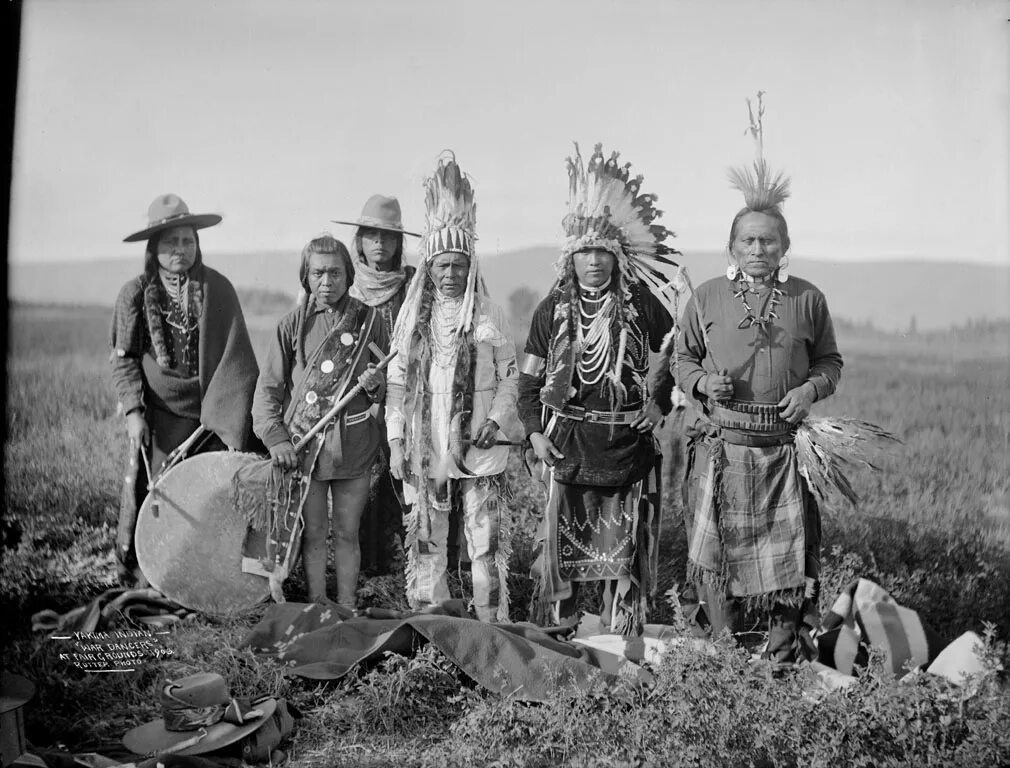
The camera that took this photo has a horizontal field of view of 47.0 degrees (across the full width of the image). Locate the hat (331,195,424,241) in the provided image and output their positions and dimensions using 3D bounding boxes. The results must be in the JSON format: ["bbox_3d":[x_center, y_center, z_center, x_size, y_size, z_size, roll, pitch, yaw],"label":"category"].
[{"bbox_3d":[-0.715,-1.016,7.018,0.393,0.261,0.574,0,5,-8],"label":"hat"}]

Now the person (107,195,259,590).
[{"bbox_3d":[-1.925,0.036,7.011,0.854,2.319,0.430,0,4,-15],"label":"person"}]

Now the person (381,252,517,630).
[{"bbox_3d":[-0.298,0.285,6.722,0.768,2.111,0.385,0,4,-7],"label":"person"}]

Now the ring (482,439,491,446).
[{"bbox_3d":[-0.100,0.335,6.632,0.047,0.041,0.014,0,4,-10],"label":"ring"}]

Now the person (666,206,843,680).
[{"bbox_3d":[1.391,0.247,6.550,0.893,2.495,0.398,2,4,18],"label":"person"}]

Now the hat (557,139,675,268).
[{"bbox_3d":[0.657,-1.012,6.690,0.650,0.703,0.209,0,4,-15],"label":"hat"}]

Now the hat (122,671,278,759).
[{"bbox_3d":[-1.558,1.680,5.842,0.435,0.176,0.458,-6,13,31],"label":"hat"}]
